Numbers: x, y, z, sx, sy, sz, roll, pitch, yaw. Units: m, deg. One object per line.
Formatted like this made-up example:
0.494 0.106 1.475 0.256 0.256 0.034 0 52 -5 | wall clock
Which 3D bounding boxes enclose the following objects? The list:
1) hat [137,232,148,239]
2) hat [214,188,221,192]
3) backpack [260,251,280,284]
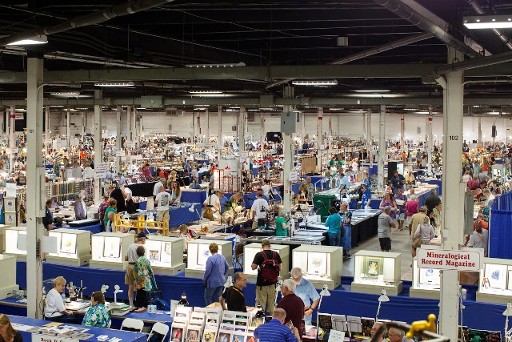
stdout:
-2.643 1.503 11.601 0.134 0.105 0.187 6 11 26 | hat
-1.499 0.741 19.523 0.417 0.149 0.289 0 0 -15 | hat
0.261 2.047 10.578 0.398 0.693 0.489 -7 -19 40 | backpack
